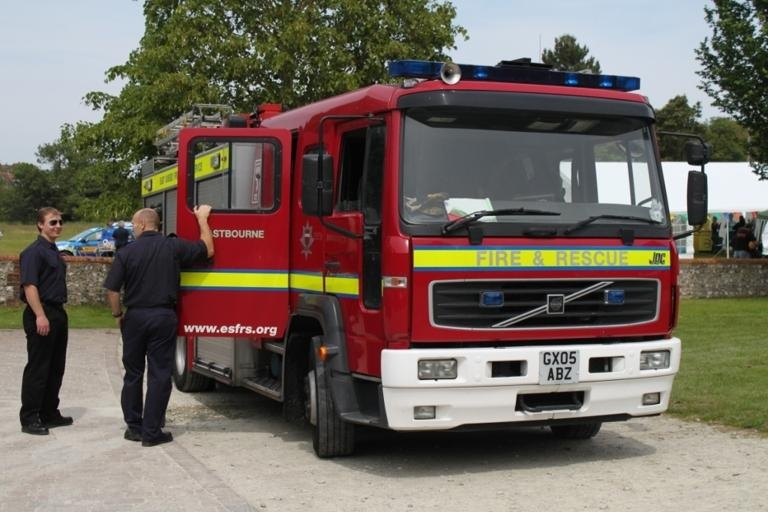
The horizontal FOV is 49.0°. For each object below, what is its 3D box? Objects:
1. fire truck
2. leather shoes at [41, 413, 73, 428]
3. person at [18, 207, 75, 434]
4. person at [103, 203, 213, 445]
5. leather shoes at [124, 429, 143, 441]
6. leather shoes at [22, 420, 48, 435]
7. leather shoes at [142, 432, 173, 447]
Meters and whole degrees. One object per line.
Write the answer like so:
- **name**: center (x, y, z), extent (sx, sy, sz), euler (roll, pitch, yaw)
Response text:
- **fire truck**: center (-0.964, -0.247, 13.579), extent (6.194, 4.544, 10.635), euler (-1, 2, -21)
- **leather shoes**: center (-4.195, 2.116, 10.813), extent (0.346, 0.159, 0.138), euler (-4, 4, -27)
- **person**: center (-4.289, 0.774, 10.617), extent (0.567, 2.922, 0.632), euler (-1, 0, -9)
- **person**: center (-2.913, 0.801, 10.352), extent (1.210, 2.856, 1.311), euler (0, 0, -29)
- **leather shoes**: center (-3.049, 2.170, 10.212), extent (0.160, 0.108, 0.158), euler (2, -2, -13)
- **leather shoes**: center (-4.318, 2.112, 10.422), extent (0.366, 0.140, 0.141), euler (-5, -7, 37)
- **leather shoes**: center (-2.722, 2.188, 10.136), extent (0.121, 0.146, 0.354), euler (4, 7, 32)
